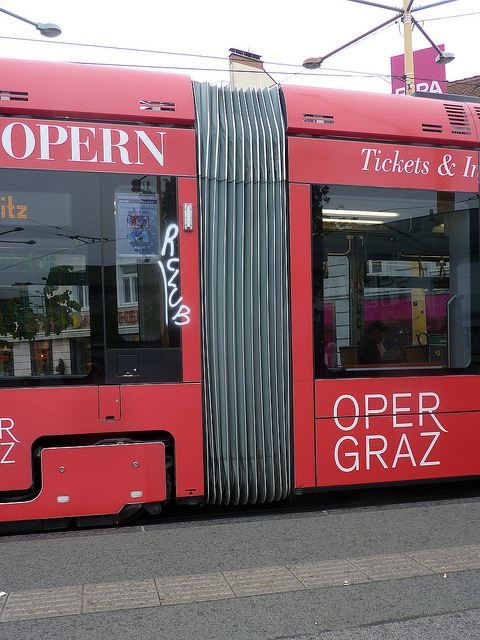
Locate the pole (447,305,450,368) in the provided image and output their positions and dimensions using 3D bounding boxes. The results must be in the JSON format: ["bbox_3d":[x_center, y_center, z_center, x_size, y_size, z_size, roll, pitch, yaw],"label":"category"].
[{"bbox_3d":[1.715,0.135,5.433,0.016,0.497,0.104,0,1,15],"label":"pole"}]

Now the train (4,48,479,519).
[{"bbox_3d":[-0.090,-0.145,4.857,3.356,3.135,1.278,0,-1,-15],"label":"train"}]
